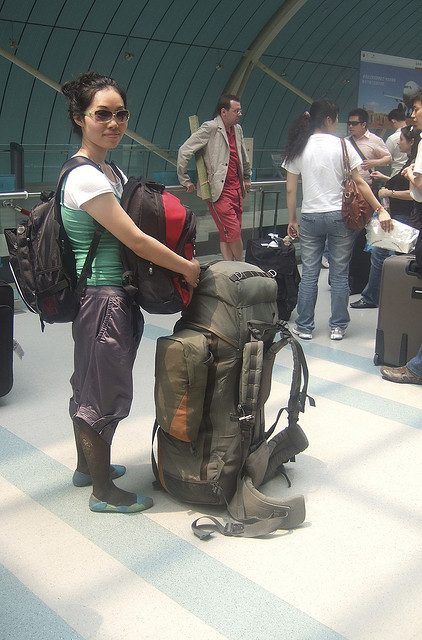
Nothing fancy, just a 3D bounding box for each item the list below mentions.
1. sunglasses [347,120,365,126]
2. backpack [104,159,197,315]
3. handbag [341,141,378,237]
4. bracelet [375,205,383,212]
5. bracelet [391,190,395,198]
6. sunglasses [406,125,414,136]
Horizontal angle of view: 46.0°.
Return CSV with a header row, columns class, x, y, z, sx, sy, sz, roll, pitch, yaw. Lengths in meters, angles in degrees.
class,x,y,z,sx,sy,sz,roll,pitch,yaw
sunglasses,2.036,-2.778,6.987,0.234,0.065,0.137,10,13,39
backpack,-0.225,-0.307,2.077,0.321,0.596,0.304,0,10,-6
handbag,1.456,-1.309,4.937,0.327,0.910,0.223,-3,11,-24
bracelet,1.660,-1.113,4.904,0.020,0.076,0.056,23,2,24
bracelet,2.166,-1.514,5.888,0.034,0.085,0.139,4,11,17
sunglasses,2.557,-2.460,6.355,0.095,0.135,0.041,7,-10,-7
